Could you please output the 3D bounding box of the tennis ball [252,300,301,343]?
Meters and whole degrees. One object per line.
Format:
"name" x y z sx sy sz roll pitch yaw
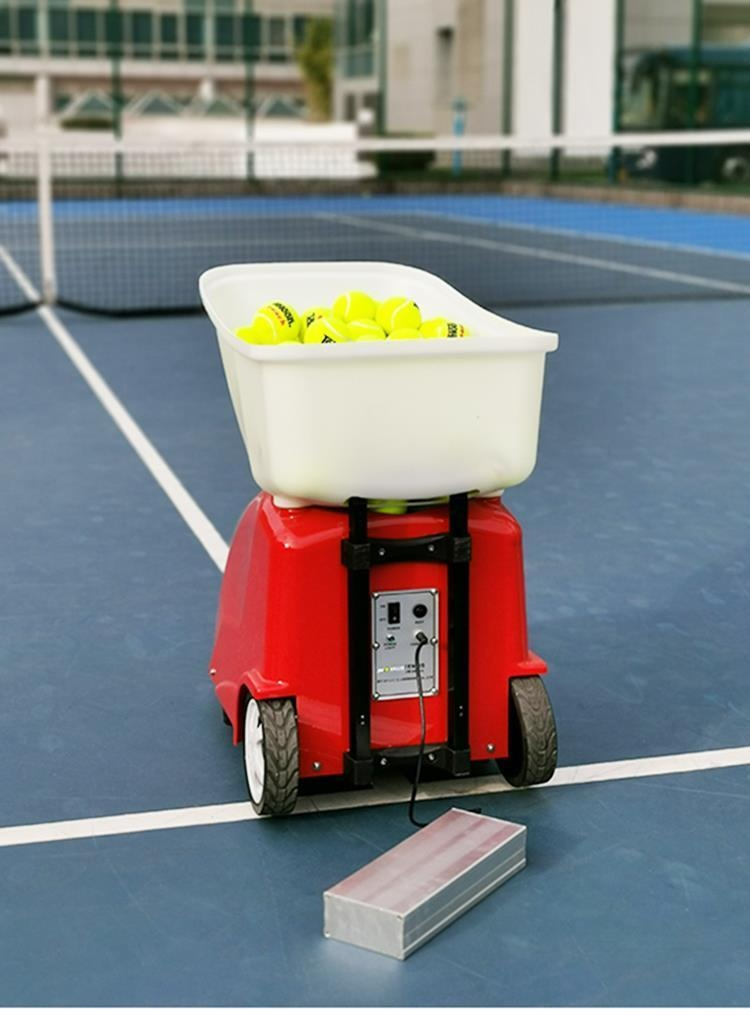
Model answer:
"tennis ball" -0.242 -0.505 2.690 0.116 0.129 0.121 -2 47 2

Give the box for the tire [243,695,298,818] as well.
"tire" -0.231 0.542 2.332 0.101 0.274 0.295 -3 3 -9

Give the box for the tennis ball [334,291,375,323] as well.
"tennis ball" -0.053 -0.588 2.898 0.123 0.106 0.113 3 19 -1

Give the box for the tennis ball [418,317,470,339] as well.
"tennis ball" 0.174 -0.476 2.647 0.113 0.059 0.135 1 1 -6

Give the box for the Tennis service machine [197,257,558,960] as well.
"Tennis service machine" 0.063 0.139 2.457 0.797 1.123 1.532 -1 12 -12

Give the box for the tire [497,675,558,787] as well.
"tire" 0.360 0.516 2.480 0.096 0.256 0.275 -3 5 -4
